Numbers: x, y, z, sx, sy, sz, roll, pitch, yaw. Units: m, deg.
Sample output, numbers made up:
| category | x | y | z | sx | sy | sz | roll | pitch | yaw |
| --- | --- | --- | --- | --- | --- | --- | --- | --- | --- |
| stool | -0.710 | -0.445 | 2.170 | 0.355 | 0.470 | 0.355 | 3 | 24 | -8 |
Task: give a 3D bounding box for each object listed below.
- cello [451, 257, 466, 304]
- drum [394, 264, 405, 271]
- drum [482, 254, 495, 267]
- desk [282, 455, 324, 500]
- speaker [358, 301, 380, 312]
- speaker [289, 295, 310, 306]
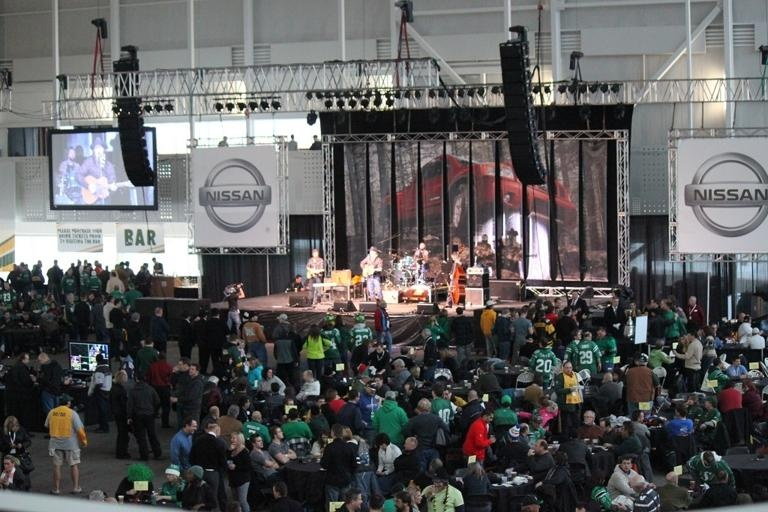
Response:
| category | x | y | z | sx | sy | sz | roll | pitch | yaw |
| --- | --- | --- | --- | --- | --- | --- | --- | --- | --- |
| cello | 2.595 | 1.012 | 53.620 | 0.401 | 1.349 | 0.700 | -3 | -3 | 29 |
| drum | 0.534 | 0.484 | 54.840 | 0.274 | 0.280 | 0.281 | -1 | -2 | 17 |
| drum | 3.792 | 0.148 | 56.567 | 0.671 | 0.465 | 0.376 | -1 | 3 | 2 |
| desk | -2.170 | 6.035 | 41.098 | 0.953 | 0.694 | 0.968 | -1 | 4 | -38 |
| speaker | -0.552 | 1.807 | 51.912 | 0.573 | 0.397 | 0.314 | -1 | -9 | 6 |
| speaker | -2.872 | 1.620 | 53.428 | 0.450 | 0.294 | 0.447 | 1 | 4 | 18 |
